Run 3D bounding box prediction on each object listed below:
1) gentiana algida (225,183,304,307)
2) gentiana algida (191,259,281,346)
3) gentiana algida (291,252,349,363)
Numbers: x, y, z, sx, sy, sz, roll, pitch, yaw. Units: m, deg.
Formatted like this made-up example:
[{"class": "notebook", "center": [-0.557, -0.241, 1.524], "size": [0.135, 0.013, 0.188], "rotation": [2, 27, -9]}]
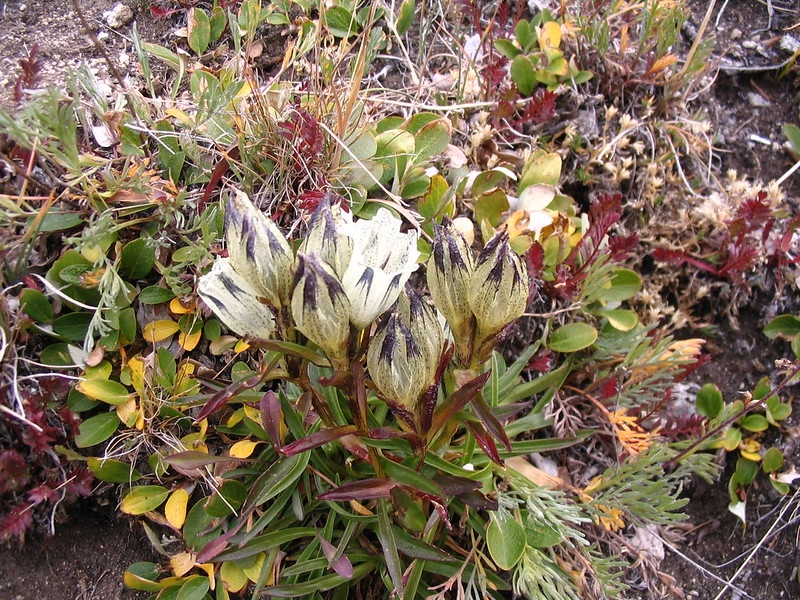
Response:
[{"class": "gentiana algida", "center": [-0.407, -0.112, 1.770], "size": [0.151, 0.299, 0.114], "rotation": [12, 69, -3]}, {"class": "gentiana algida", "center": [-0.460, 0.008, 1.827], "size": [0.155, 0.091, 0.262], "rotation": [-42, 105, -5]}, {"class": "gentiana algida", "center": [-0.204, 0.007, 1.662], "size": [0.144, 0.182, 0.173], "rotation": [8, 66, 0]}]
